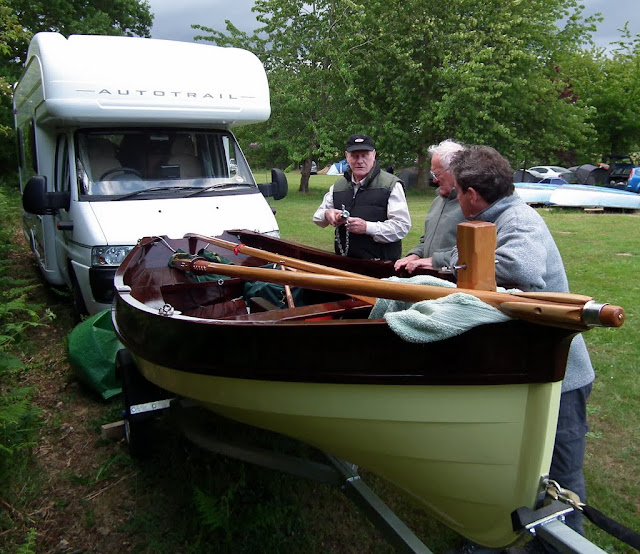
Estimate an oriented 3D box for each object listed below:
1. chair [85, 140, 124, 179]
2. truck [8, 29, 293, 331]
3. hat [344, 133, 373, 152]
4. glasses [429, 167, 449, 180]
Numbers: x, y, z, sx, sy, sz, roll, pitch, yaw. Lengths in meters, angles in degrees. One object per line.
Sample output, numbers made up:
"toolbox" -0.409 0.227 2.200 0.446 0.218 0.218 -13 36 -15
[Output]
"chair" -2.080 -1.139 5.451 0.298 0.368 0.225 -12 21 -37
"truck" -2.101 -1.546 6.526 2.032 1.885 3.861 -5 16 -23
"hat" 0.343 -1.161 4.920 0.172 0.097 0.208 -1 5 5
"glasses" 0.828 -0.709 3.947 0.061 0.098 0.084 13 25 28
